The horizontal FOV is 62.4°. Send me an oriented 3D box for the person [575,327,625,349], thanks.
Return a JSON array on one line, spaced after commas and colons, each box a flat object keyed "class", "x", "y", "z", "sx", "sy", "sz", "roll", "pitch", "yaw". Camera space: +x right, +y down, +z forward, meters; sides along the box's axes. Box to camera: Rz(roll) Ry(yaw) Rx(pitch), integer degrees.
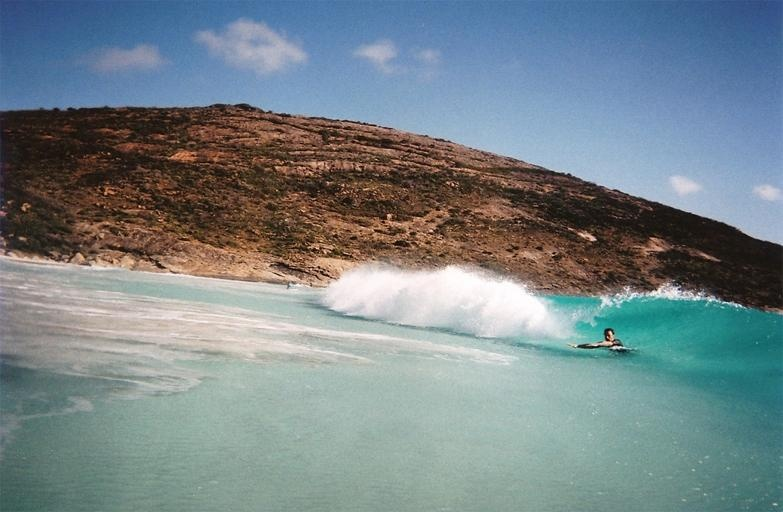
[{"class": "person", "x": 6.777, "y": 2.714, "z": 21.069, "sx": 1.662, "sy": 0.558, "sz": 0.757, "roll": 2, "pitch": -10, "yaw": 5}]
